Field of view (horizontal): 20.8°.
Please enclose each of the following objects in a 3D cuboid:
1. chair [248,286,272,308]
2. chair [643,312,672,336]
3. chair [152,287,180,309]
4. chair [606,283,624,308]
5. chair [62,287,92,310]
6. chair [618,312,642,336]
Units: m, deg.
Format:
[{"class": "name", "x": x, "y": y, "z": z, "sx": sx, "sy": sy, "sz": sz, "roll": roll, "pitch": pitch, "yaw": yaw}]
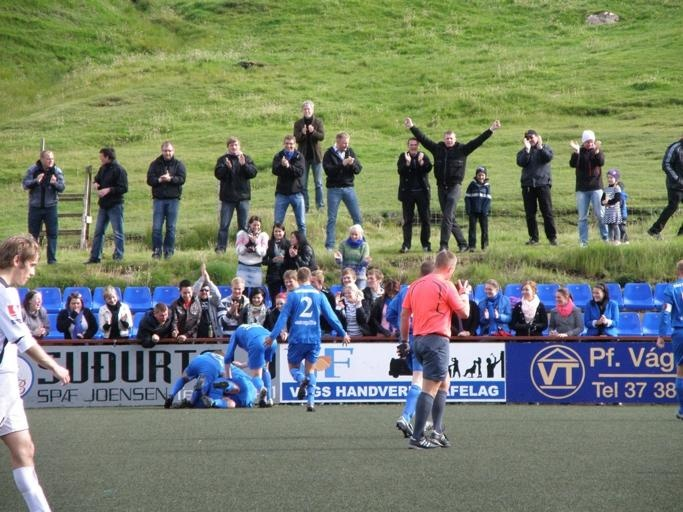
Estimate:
[{"class": "chair", "x": -4.154, "y": 2.094, "z": 94.813, "sx": 0.698, "sy": 1.233, "sz": 1.110, "roll": -2, "pitch": 2, "yaw": 3}, {"class": "chair", "x": 15.946, "y": 3.402, "z": 96.372, "sx": 1.020, "sy": 1.173, "sz": 1.032, "roll": 1, "pitch": -7, "yaw": 5}, {"class": "chair", "x": -9.272, "y": 2.086, "z": 97.907, "sx": 0.986, "sy": 1.124, "sz": 0.926, "roll": 3, "pitch": -8, "yaw": -13}, {"class": "chair", "x": 14.401, "y": 2.043, "z": 97.445, "sx": 1.057, "sy": 1.506, "sz": 1.123, "roll": 0, "pitch": -2, "yaw": 1}, {"class": "chair", "x": -13.624, "y": 2.009, "z": 97.194, "sx": 1.114, "sy": 1.271, "sz": 1.017, "roll": 1, "pitch": -6, "yaw": -14}, {"class": "chair", "x": 14.872, "y": 3.528, "z": 96.674, "sx": 1.028, "sy": 1.313, "sz": 1.043, "roll": 0, "pitch": -6, "yaw": 7}]
